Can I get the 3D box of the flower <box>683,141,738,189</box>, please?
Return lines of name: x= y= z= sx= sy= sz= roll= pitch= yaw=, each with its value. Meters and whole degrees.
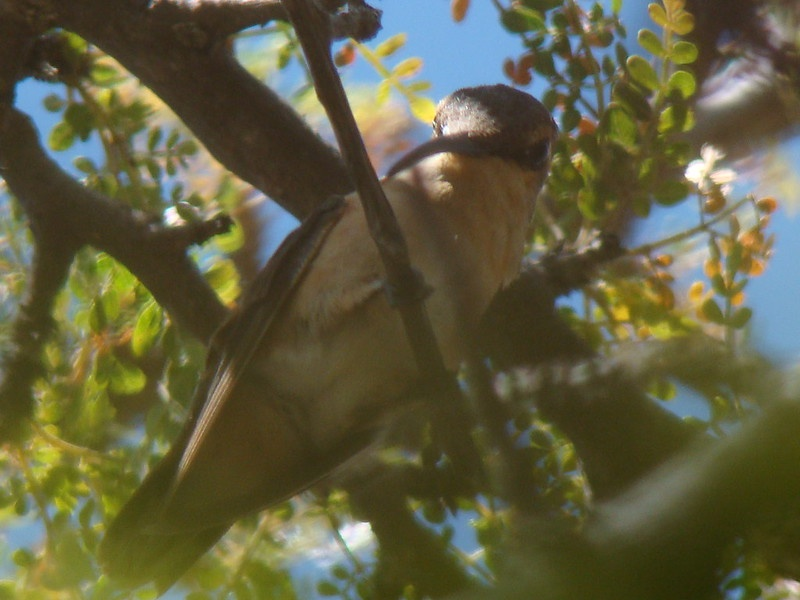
flower: x=0.421 y=-0.181 z=1.957 sx=0.059 sy=0.059 sz=0.026 roll=15 pitch=-13 yaw=22
